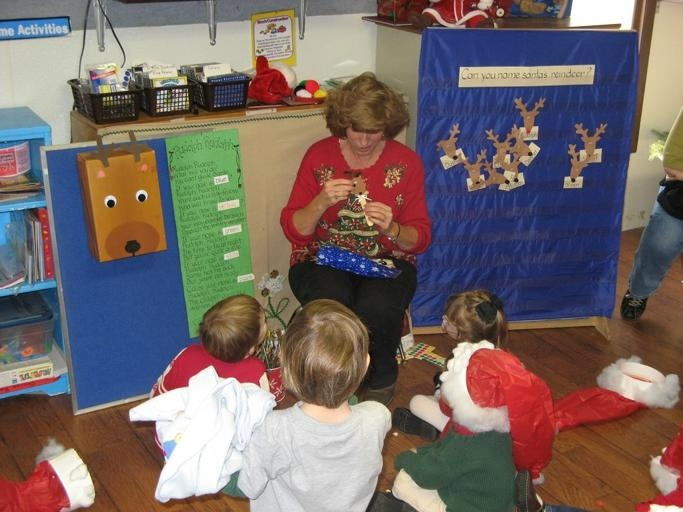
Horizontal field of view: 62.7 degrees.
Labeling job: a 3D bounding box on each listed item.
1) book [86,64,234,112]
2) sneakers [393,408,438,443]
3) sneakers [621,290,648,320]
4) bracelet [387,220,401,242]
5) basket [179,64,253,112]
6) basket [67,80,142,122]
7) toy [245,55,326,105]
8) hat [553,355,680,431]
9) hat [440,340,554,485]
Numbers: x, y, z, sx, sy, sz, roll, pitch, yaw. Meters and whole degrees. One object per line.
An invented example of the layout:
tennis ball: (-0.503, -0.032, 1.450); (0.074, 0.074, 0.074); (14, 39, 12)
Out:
book: (-0.751, -0.820, 2.749); (0.426, 0.142, 0.288); (-9, 24, -24)
sneakers: (0.338, 0.790, 2.693); (0.252, 0.086, 0.104); (25, -15, 13)
sneakers: (1.829, 0.324, 3.526); (0.095, 0.248, 0.108); (26, 35, 22)
bracelet: (0.252, -0.121, 2.689); (0.033, 0.081, 0.069); (19, 25, 40)
basket: (-0.595, -0.835, 2.760); (0.221, 0.146, 0.316); (-13, 28, -33)
basket: (-1.100, -0.727, 2.640); (0.258, 0.179, 0.330); (-13, 26, -28)
toy: (-0.297, -0.932, 3.032); (0.375, 0.157, 0.284); (-15, 29, -27)
hat: (1.360, 0.694, 2.793); (0.573, 0.149, 0.326); (-18, 39, -18)
hat: (0.572, 0.590, 2.072); (0.421, 0.555, 0.300); (7, 24, 16)
